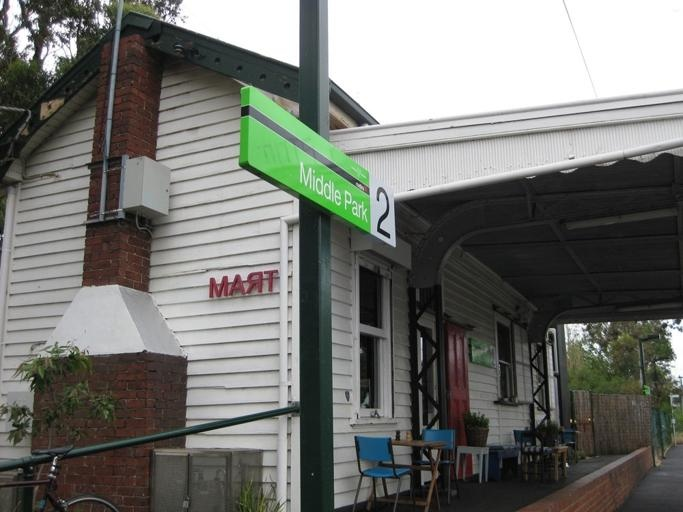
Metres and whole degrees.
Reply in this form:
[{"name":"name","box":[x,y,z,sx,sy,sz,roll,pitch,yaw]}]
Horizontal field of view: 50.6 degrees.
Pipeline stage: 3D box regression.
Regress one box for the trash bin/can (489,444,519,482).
[{"name":"trash bin/can","box":[3.178,3.980,14.097,0.636,0.639,0.939,-12,-21,32]}]

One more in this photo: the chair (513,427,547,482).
[{"name":"chair","box":[3.877,3.988,14.596,0.345,0.725,1.053,-7,-19,23]}]

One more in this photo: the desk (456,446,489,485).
[{"name":"desk","box":[2.459,3.771,13.198,0.612,0.677,1.721,-7,-21,10]}]

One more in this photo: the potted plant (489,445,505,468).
[{"name":"potted plant","box":[3.052,3.831,13.907,0.276,0.415,0.339,-12,-22,23]}]

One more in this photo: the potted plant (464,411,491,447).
[{"name":"potted plant","box":[2.533,3.183,13.453,0.517,0.677,0.536,1,-10,5]}]
